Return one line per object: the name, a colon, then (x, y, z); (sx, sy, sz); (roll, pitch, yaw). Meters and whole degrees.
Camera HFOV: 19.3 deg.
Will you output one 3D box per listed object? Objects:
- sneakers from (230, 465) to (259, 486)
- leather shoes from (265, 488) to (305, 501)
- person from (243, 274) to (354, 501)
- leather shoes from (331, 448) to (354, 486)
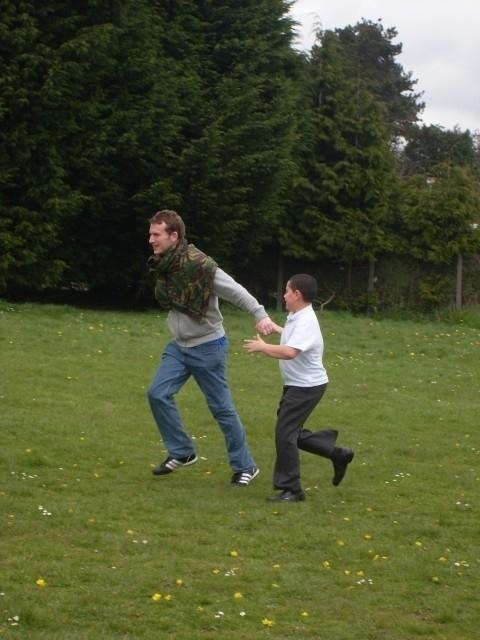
sneakers: (0.062, 1.558, 14.167); (0.122, 0.127, 0.315); (-25, 2, 32)
leather shoes: (0.449, 1.680, 13.714); (0.353, 0.126, 0.123); (3, -2, -4)
person: (0.608, 0.655, 13.782); (1.071, 2.129, 0.765); (9, 13, 5)
leather shoes: (1.031, 1.410, 14.055); (0.232, 0.443, 0.154); (0, 35, -11)
